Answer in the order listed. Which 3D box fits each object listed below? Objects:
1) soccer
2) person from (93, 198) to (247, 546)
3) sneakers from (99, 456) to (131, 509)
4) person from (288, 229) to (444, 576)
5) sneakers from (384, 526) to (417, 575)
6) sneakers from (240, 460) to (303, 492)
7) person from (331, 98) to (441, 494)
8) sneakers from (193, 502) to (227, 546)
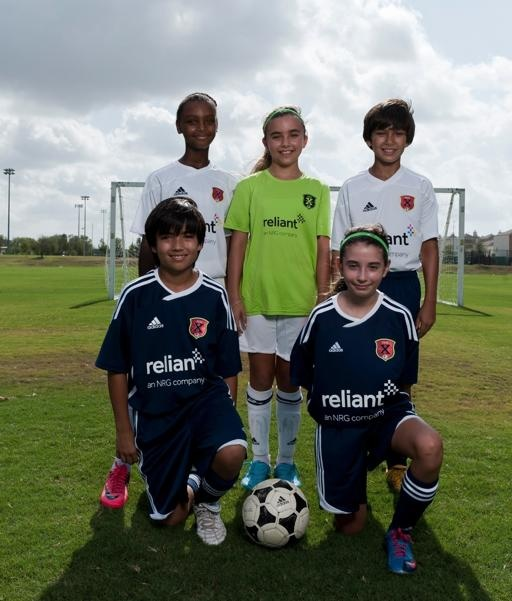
[{"bbox_3d":[0.085,1.014,2.393,0.311,0.212,0.278,-2,6,-33],"label":"soccer"},{"bbox_3d":[-0.405,0.297,2.399,0.714,1.593,0.437,1,4,-3],"label":"person"},{"bbox_3d":[-0.740,0.973,2.645,0.095,0.118,0.291,6,9,-5],"label":"sneakers"},{"bbox_3d":[0.585,0.388,2.407,0.467,1.477,0.780,-3,6,-39],"label":"person"},{"bbox_3d":[0.614,1.077,2.138,0.069,0.094,0.209,-2,-6,0],"label":"sneakers"},{"bbox_3d":[0.090,1.031,2.951,0.293,0.121,0.163,7,-7,-12],"label":"sneakers"},{"bbox_3d":[0.810,-0.066,3.107,0.647,2.237,0.599,-1,7,15],"label":"person"},{"bbox_3d":[-0.220,1.035,2.331,0.163,0.148,0.164,1,5,0],"label":"sneakers"}]
